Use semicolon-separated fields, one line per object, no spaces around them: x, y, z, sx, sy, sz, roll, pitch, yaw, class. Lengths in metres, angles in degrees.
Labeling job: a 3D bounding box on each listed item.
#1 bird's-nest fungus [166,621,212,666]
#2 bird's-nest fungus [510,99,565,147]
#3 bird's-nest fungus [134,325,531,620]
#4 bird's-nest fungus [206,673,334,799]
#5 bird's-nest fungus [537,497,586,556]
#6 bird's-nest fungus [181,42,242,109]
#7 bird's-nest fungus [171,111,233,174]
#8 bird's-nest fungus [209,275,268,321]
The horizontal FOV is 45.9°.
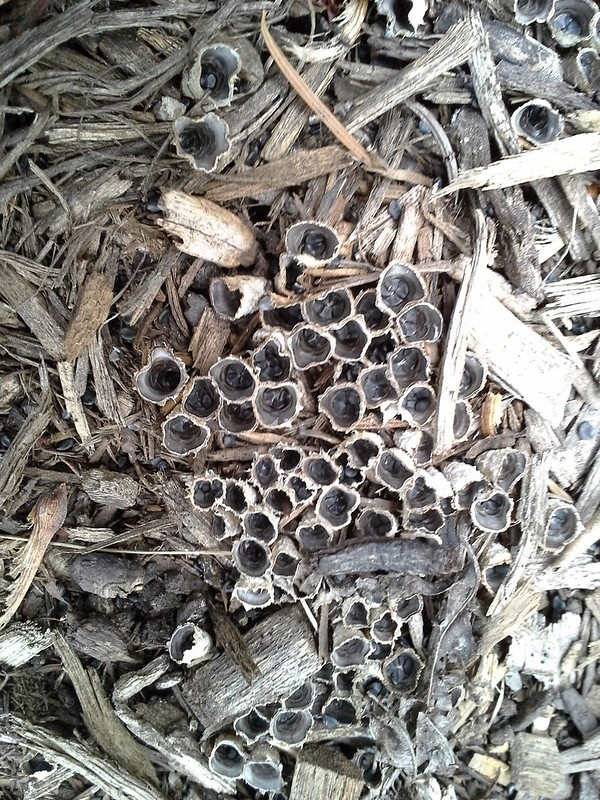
-0.380;0.841;2.438;0.110;0.129;0.125;24;91;14;bird's-nest fungus
0.728;-0.850;2.164;0.154;0.109;0.127;23;68;10;bird's-nest fungus
0.162;0.264;2.275;1.228;0.822;0.888;-7;66;-3;bird's-nest fungus
-0.130;1.167;2.575;0.308;0.150;0.490;42;80;-9;bird's-nest fungus
0.882;0.431;2.388;0.151;0.139;0.162;10;67;4;bird's-nest fungus
-0.262;-0.956;2.095;0.163;0.142;0.133;9;67;4;bird's-nest fungus
-0.274;-0.746;2.122;0.188;0.155;0.167;-19;101;-7;bird's-nest fungus
-0.193;-0.318;2.184;0.173;0.243;0.140;5;108;15;bird's-nest fungus
